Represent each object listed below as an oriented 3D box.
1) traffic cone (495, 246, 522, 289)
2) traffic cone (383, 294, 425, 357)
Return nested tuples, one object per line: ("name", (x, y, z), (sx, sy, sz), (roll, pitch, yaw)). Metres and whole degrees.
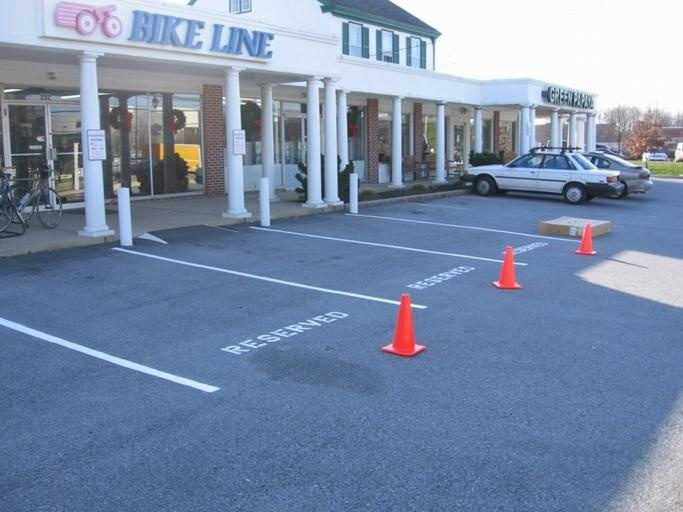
("traffic cone", (3.141, 0.234, 9.755), (0.483, 0.740, 0.498), (-3, 15, -5))
("traffic cone", (0.758, 0.768, 6.199), (0.514, 0.727, 0.412), (2, 11, 10))
